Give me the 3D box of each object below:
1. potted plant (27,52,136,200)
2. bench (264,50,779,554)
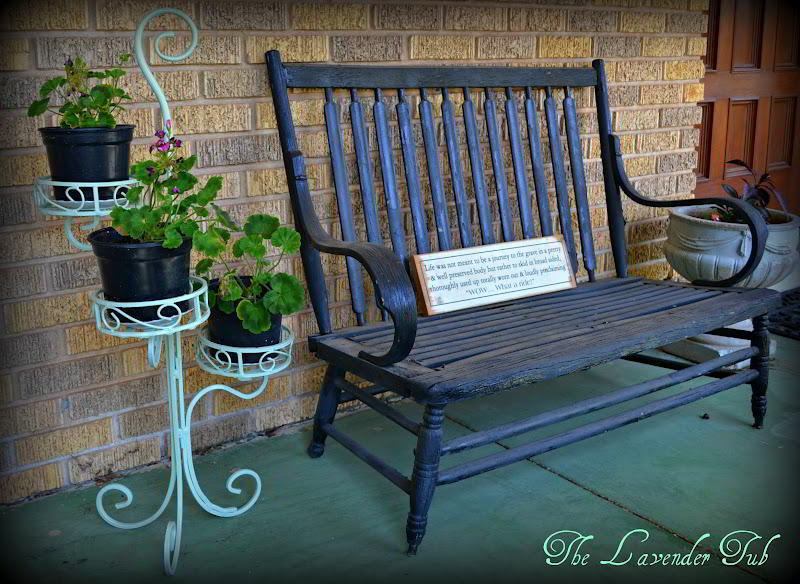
[{"bbox_3d":[-0.805,-0.447,1.704,0.229,0.294,0.219,11,24,10],"label":"potted plant"},{"bbox_3d":[0.385,0.055,2.286,1.864,1.234,0.902,-7,17,-28],"label":"bench"}]
